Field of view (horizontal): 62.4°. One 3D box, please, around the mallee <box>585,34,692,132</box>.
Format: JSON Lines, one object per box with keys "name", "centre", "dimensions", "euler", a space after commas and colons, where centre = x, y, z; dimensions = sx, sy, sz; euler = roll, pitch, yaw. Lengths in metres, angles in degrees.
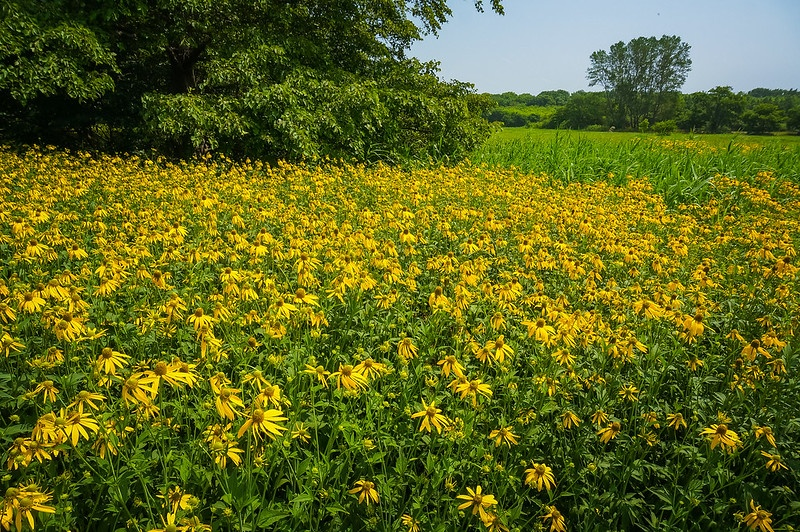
{"name": "mallee", "centre": [23.926, -18.589, 66.032], "dimensions": [7.789, 8.576, 4.154], "euler": [24, 30, 39]}
